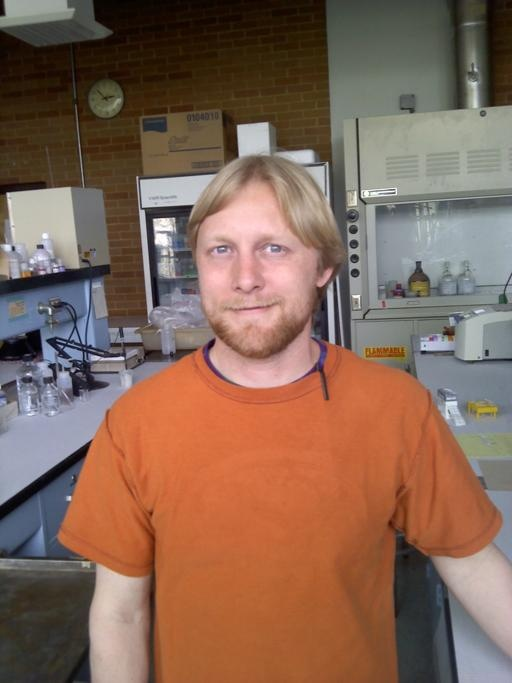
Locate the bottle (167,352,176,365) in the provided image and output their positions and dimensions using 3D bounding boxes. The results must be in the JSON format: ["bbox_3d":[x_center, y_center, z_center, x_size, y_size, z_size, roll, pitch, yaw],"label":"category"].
[{"bbox_3d":[-0.461,0.095,3.037,0.039,0.060,0.065,0,-1,-6],"label":"bottle"}]
